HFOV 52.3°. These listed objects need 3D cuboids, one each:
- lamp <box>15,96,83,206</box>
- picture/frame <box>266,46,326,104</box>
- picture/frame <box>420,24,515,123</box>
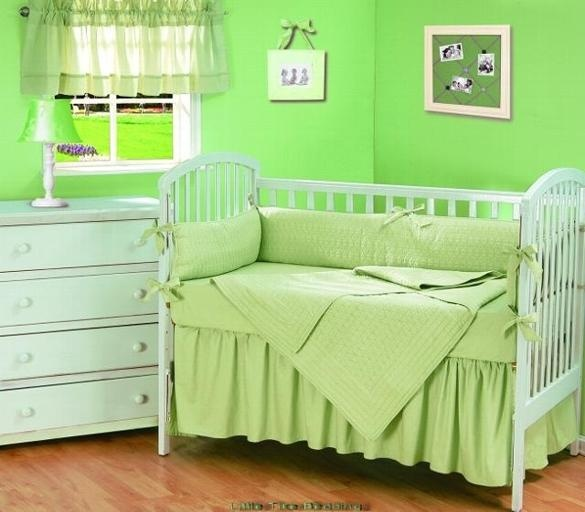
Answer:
[{"bbox_3d":[-1.088,-0.464,2.656,0.241,0.495,0.328,-3,5,-31],"label":"lamp"},{"bbox_3d":[0.000,-1.050,3.409,0.380,0.284,0.037,-3,8,-20],"label":"picture/frame"},{"bbox_3d":[0.877,-0.944,3.028,0.047,0.430,0.534,-20,27,-28],"label":"picture/frame"}]
